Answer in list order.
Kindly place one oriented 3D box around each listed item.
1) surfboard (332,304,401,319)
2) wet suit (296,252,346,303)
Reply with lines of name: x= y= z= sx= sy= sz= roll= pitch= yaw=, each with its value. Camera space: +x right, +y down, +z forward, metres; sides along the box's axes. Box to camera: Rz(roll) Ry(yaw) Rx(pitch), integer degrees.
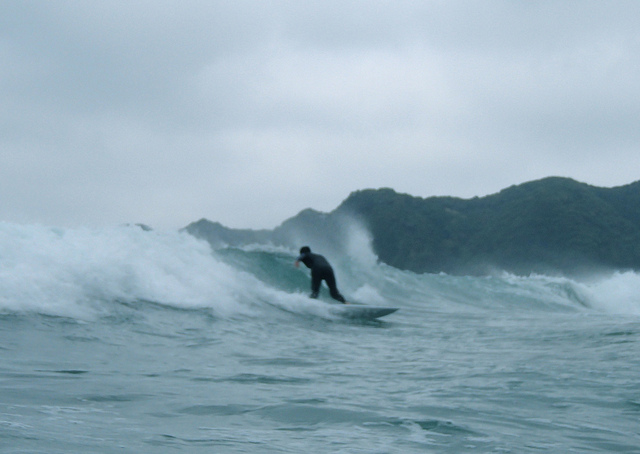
surfboard: x=1.286 y=1.897 z=15.813 sx=2.006 sy=0.403 sz=0.248 roll=2 pitch=12 yaw=-19
wet suit: x=0.006 y=1.203 z=17.252 sx=0.832 sy=1.332 sz=1.232 roll=13 pitch=-17 yaw=-30
